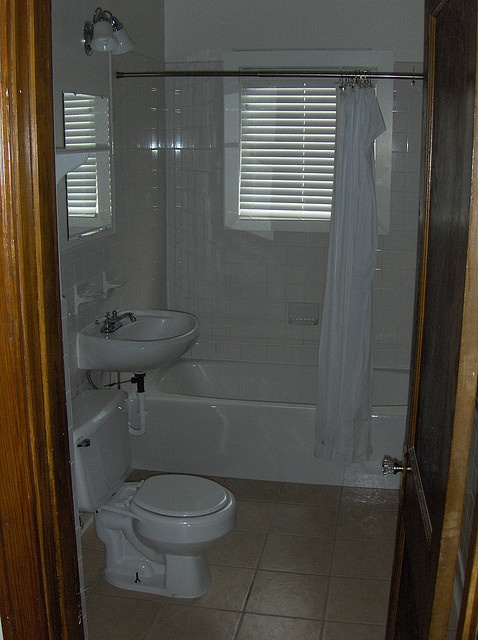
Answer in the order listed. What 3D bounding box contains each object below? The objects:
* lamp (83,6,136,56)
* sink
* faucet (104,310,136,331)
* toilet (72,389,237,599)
[{"bbox_3d":[-0.589,-1.265,2.450,0.195,0.185,0.256,1,12,9],"label":"lamp"},{"bbox_3d":[-0.458,0.122,2.728,0.509,0.238,0.753,5,10,3],"label":"sink"},{"bbox_3d":[-0.600,0.014,2.737,0.108,0.051,0.107,1,15,5],"label":"faucet"},{"bbox_3d":[-0.352,0.733,2.330,0.642,0.812,0.440,3,17,17],"label":"toilet"}]
